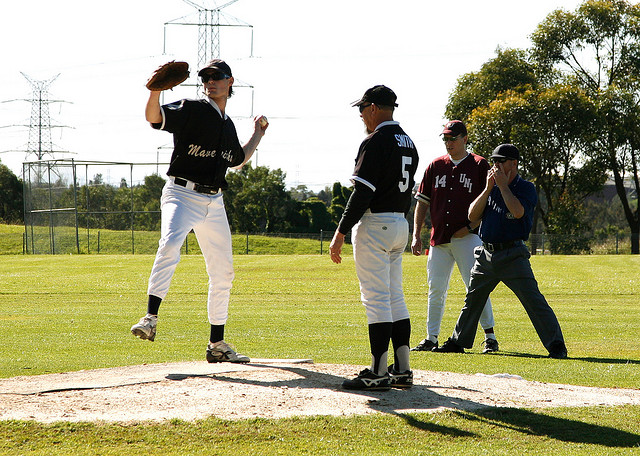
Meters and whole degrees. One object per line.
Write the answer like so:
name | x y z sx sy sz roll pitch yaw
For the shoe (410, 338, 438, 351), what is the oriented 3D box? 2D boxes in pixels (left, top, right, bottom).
shoe | 1.956 2.175 18.519 0.563 0.257 0.199 0 -5 -4

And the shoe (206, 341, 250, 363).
shoe | -1.606 2.137 16.978 0.836 0.413 0.292 1 -5 -2

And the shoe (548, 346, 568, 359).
shoe | 4.246 2.212 17.855 0.349 0.206 0.179 0 -2 1

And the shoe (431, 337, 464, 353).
shoe | 2.333 2.163 18.430 0.632 0.284 0.243 3 -7 6

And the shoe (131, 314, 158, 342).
shoe | -2.883 1.615 16.631 0.301 0.454 0.901 12 -9 8

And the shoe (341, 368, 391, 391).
shoe | 0.752 2.455 16.226 0.826 0.379 0.305 4 -8 -4
